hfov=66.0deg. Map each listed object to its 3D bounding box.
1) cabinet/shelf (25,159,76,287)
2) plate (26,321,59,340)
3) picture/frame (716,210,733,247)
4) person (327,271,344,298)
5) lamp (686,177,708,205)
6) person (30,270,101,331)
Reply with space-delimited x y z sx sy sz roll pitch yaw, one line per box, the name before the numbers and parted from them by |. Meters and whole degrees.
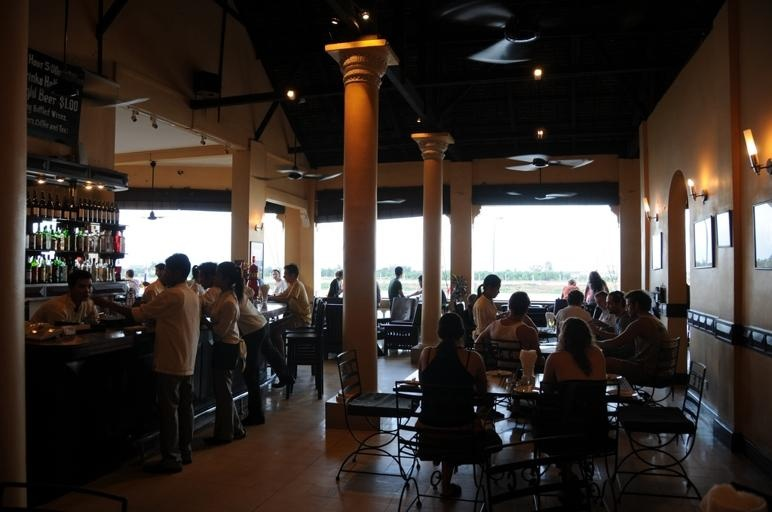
cabinet/shelf | -4.814 -0.493 8.546 0.595 1.934 0.851 -1 0 39
plate | -3.643 0.800 6.201 0.378 0.176 0.221 0 0 17
picture/frame | 4.419 -0.357 7.707 0.057 0.496 0.494 2 0 16
person | -1.239 0.678 14.314 0.313 0.667 0.739 -1 0 -5
lamp | 4.637 -0.934 8.792 0.330 0.501 0.225 3 -7 7
person | -3.792 0.574 6.984 0.693 0.790 0.612 3 1 13
